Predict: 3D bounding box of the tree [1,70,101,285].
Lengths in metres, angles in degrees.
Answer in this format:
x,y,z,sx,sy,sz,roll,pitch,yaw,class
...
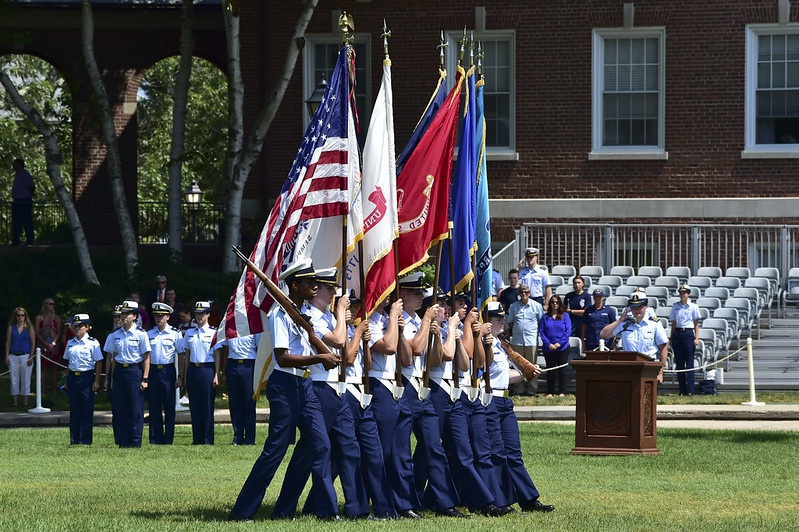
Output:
x,y,z,sx,sy,sz,roll,pitch,yaw,class
-10.135,-2.511,67.440,0.842,7.815,0.955,-21,9,-20,tree

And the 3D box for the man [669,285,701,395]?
x,y,z,sx,sy,sz,roll,pitch,yaw,class
7.222,1.847,57.890,0.726,2.726,0.619,0,-2,8,man

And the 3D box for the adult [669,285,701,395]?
x,y,z,sx,sy,sz,roll,pitch,yaw,class
7.222,1.847,57.898,0.731,2.726,0.626,0,-2,10,adult

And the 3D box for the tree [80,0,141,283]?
x,y,z,sx,sy,sz,roll,pitch,yaw,class
-7.738,-3.359,62.068,1.543,7.544,1.994,0,-2,-7,tree
